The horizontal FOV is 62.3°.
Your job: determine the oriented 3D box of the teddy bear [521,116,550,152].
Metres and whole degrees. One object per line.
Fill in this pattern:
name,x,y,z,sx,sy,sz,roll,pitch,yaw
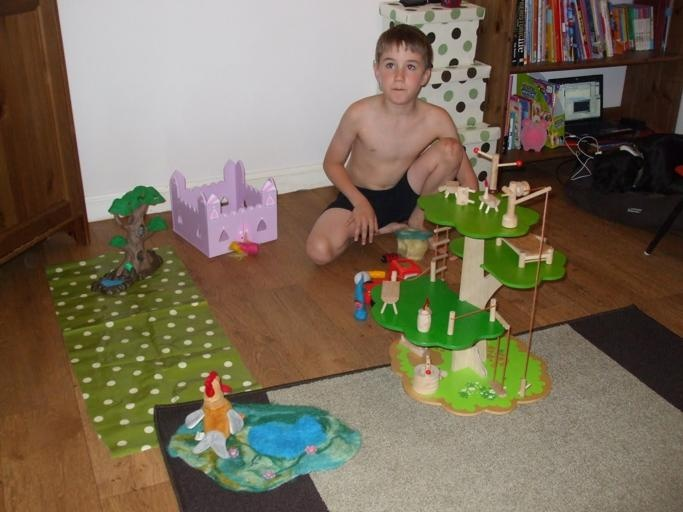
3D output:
teddy bear,1.108,-0.712,3.253,0.148,0.198,0.157,5,33,14

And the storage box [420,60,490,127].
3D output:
storage box,0.573,-0.853,2.991,0.318,0.331,0.341,-5,23,-8

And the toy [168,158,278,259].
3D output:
toy,-0.564,-0.238,2.645,0.376,0.323,0.423,-22,32,-33

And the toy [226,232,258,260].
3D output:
toy,-0.440,-0.042,2.533,0.134,0.079,0.111,-12,28,-16

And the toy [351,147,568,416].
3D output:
toy,0.381,0.044,1.995,0.751,0.871,0.727,-5,31,-11

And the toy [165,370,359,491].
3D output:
toy,-0.251,0.555,1.634,0.408,0.148,0.334,-8,30,-19

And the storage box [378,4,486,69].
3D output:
storage box,0.471,-1.150,2.866,0.365,0.251,0.391,-7,28,-12

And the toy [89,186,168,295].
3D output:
toy,-0.832,-0.111,2.324,0.195,0.269,0.293,-16,70,7

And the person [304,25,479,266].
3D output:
person,0.215,-0.493,2.449,0.773,0.935,0.587,-8,34,-11
